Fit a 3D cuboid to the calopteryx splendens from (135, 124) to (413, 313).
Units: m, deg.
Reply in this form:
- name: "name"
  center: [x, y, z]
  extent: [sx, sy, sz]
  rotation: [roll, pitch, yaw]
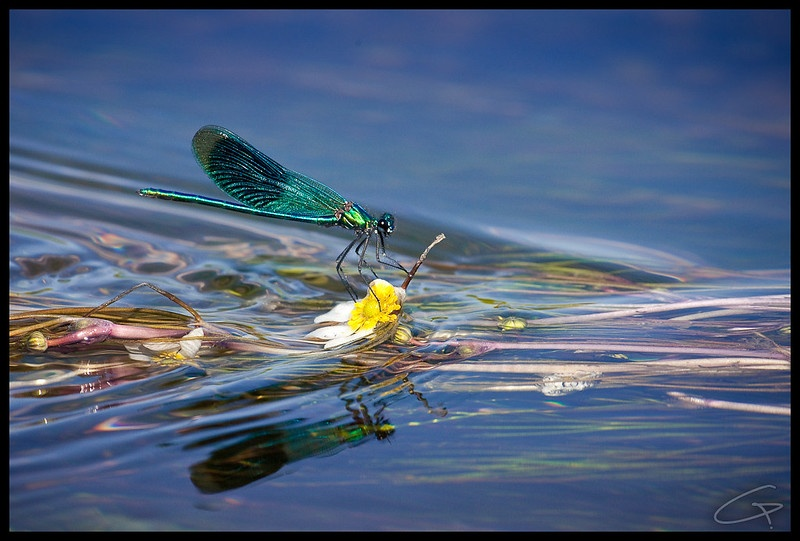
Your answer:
- name: "calopteryx splendens"
  center: [-0.617, -0.289, 3.526]
  extent: [1.700, 0.547, 0.514]
  rotation: [16, -2, 14]

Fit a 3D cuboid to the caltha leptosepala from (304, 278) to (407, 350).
- name: "caltha leptosepala"
  center: [-0.182, 0.191, 3.284]
  extent: [0.298, 0.238, 0.532]
  rotation: [8, 2, -12]
